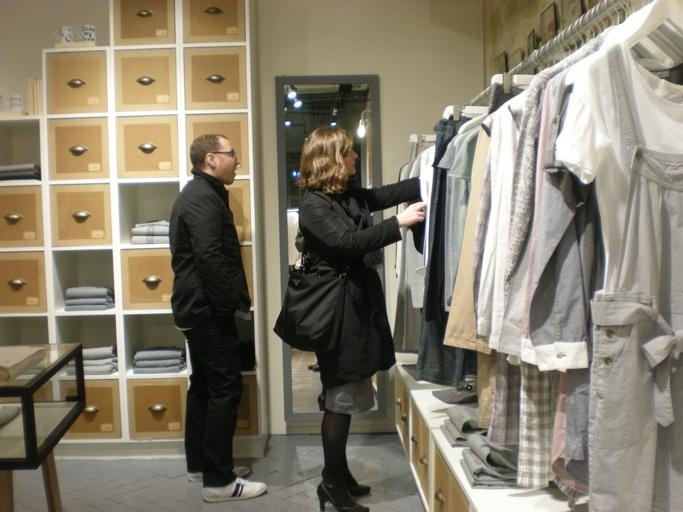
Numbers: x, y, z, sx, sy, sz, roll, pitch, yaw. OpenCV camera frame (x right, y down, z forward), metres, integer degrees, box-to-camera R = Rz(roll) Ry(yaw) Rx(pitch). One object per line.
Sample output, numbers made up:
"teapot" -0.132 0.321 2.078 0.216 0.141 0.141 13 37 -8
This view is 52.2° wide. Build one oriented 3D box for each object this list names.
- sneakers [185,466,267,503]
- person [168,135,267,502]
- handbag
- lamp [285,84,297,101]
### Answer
"sneakers" -0.649 1.293 4.064 0.544 0.254 0.174 0 0 -13
"person" -0.736 0.337 4.018 0.473 2.055 0.542 -4 9 -15
"handbag" -0.145 0.266 3.431 0.317 0.415 0.153 6 -11 24
"lamp" -0.345 -1.105 4.733 0.068 0.110 0.108 4 32 -11
